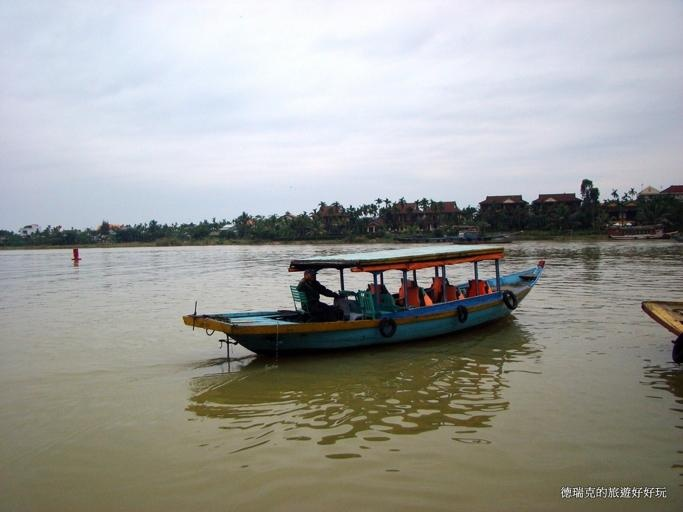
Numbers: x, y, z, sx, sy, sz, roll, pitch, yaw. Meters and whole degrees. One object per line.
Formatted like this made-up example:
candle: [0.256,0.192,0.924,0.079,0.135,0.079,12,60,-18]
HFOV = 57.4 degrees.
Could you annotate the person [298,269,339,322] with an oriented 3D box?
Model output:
person: [-0.557,0.890,14.478,0.798,1.162,0.740,-4,7,-12]

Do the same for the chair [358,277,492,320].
chair: [2.405,1.031,15.797,4.184,0.953,1.134,-3,4,-28]

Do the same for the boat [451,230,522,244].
boat: [15.877,-2.033,69.547,3.777,1.204,9.803,-4,6,-18]
